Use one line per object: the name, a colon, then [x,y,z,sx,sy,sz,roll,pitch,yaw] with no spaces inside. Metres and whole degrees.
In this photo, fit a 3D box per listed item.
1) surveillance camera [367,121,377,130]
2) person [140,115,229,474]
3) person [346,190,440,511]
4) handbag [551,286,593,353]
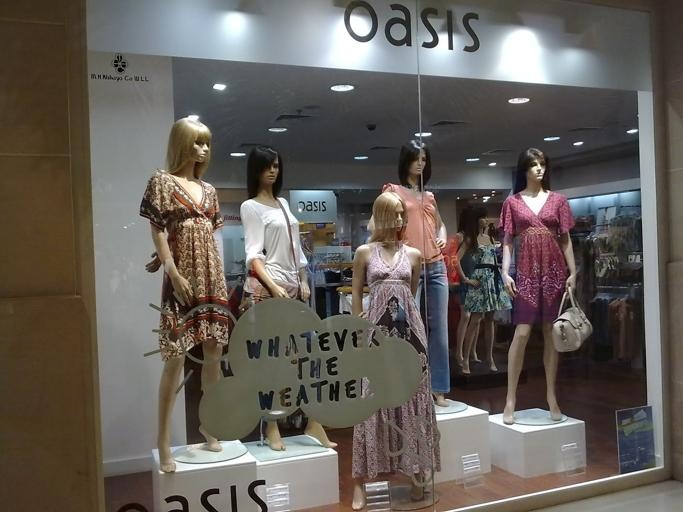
surveillance camera: [0.165,-0.707,2.963,0.046,0.038,0.011,-3,1,-14]
person: [-0.738,0.176,2.606,0.373,1.667,0.126,-3,4,-24]
person: [0.254,0.514,2.896,0.484,1.709,0.142,-3,4,-26]
handbag: [1.412,0.389,3.374,0.124,0.347,0.345,-6,1,26]
